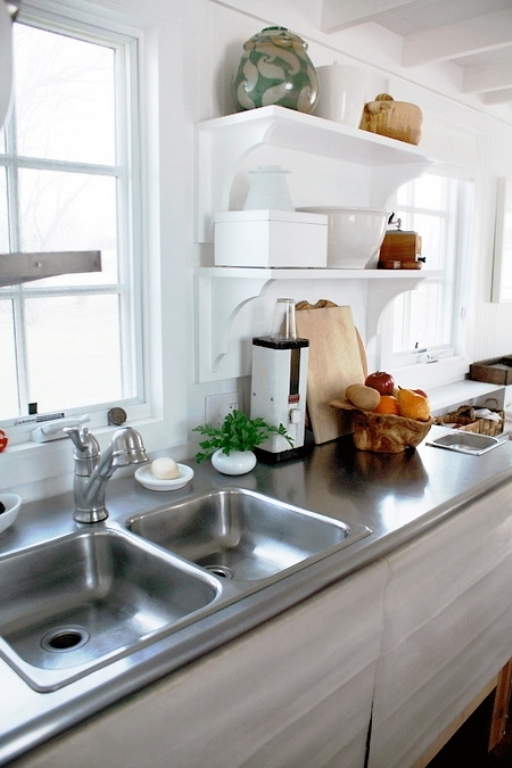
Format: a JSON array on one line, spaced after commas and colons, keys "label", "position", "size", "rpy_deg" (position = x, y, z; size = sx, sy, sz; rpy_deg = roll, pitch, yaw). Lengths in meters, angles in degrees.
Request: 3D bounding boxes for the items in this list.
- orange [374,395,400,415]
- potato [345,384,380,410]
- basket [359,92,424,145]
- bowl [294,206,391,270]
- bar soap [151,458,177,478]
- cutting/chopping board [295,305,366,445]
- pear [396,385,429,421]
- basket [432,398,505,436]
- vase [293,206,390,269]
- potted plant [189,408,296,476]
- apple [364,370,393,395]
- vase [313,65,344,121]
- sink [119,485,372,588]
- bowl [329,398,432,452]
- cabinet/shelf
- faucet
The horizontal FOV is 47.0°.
[{"label": "orange", "position": [0.359, 0.047, 1.629], "size": [0.052, 0.061, 0.051], "rpy_deg": [20, 13, 21]}, {"label": "potato", "position": [0.290, 0.033, 1.602], "size": [0.055, 0.052, 0.092], "rpy_deg": [-11, 25, -35]}, {"label": "basket", "position": [0.361, -0.724, 1.660], "size": [0.156, 0.096, 0.153], "rpy_deg": [4, 16, -38]}, {"label": "bowl", "position": [0.247, -0.367, 1.580], "size": [0.196, 0.113, 0.195], "rpy_deg": [0, 8, 0]}, {"label": "bar soap", "position": [-0.207, 0.184, 1.307], "size": [0.044, 0.023, 0.046], "rpy_deg": [-12, 22, -39]}, {"label": "cutting/chopping board", "position": [0.205, -0.016, 1.684], "size": [0.043, 0.397, 0.345], "rpy_deg": [-6, 9, 34]}, {"label": "pear", "position": [0.427, 0.057, 1.603], "size": [0.090, 0.080, 0.079], "rpy_deg": [3, 8, 14]}, {"label": "basket", "position": [0.928, 0.136, 2.559], "size": [0.208, 0.139, 0.391], "rpy_deg": [12, 18, 41]}, {"label": "vase", "position": [0.285, -0.398, 1.661], "size": [0.256, 0.153, 0.257], "rpy_deg": [9, 6, 24]}, {"label": "potted plant", "position": [-0.048, 0.138, 1.445], "size": [0.202, 0.105, 0.154], "rpy_deg": [1, 5, 14]}, {"label": "apple", "position": [0.358, -0.011, 1.714], "size": [0.069, 0.069, 0.068], "rpy_deg": [5, 9, 26]}, {"label": "vase", "position": [0.186, -0.741, 1.490], "size": [0.080, 0.141, 0.067], "rpy_deg": [2, 8, 4]}, {"label": "sink", "position": [-0.082, 0.325, 1.206], "size": [0.230, 0.106, 0.279], "rpy_deg": [15, 22, 42]}, {"label": "bowl", "position": [0.350, 0.107, 1.691], "size": [0.307, 0.125, 0.276], "rpy_deg": [-2, 13, -18]}, {"label": "cabinet/shelf", "position": [0.199, -0.353, 1.644], "size": [0.219, 0.676, 0.738], "rpy_deg": [21, 26, 38]}, {"label": "faucet", "position": [-0.287, 0.155, 1.097], "size": [0.124, 0.203, 0.314], "rpy_deg": [-2, 9, -18]}]
